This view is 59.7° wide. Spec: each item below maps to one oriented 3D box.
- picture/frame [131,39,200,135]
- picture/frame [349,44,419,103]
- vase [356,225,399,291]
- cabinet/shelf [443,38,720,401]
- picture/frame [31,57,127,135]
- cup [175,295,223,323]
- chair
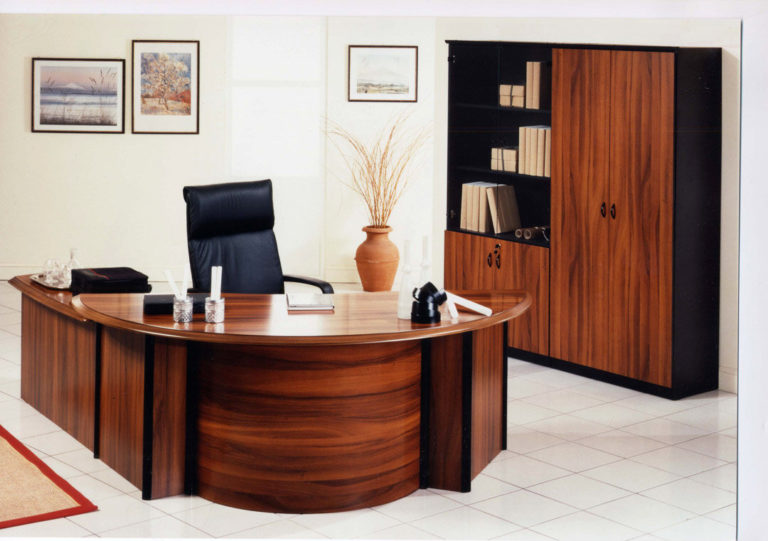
[{"bbox_3d":[-2.146,-1.794,6.555,0.670,0.926,0.494,-1,13,-16],"label":"picture/frame"},{"bbox_3d":[0.015,-1.883,6.354,0.615,0.422,0.021,1,4,3],"label":"picture/frame"},{"bbox_3d":[-0.073,-0.094,6.170,0.452,0.596,0.419,-8,14,-37],"label":"vase"},{"bbox_3d":[1.487,-0.468,4.860,2.070,2.382,0.573,13,16,39],"label":"cabinet/shelf"},{"bbox_3d":[-2.952,-1.707,6.445,0.868,0.674,0.031,3,30,4],"label":"picture/frame"},{"bbox_3d":[-0.850,0.168,3.042,0.241,0.123,0.192,0,13,-8],"label":"cup"},{"bbox_3d":[-0.979,-0.259,4.750,0.759,1.011,0.914,-7,8,-35],"label":"chair"}]
